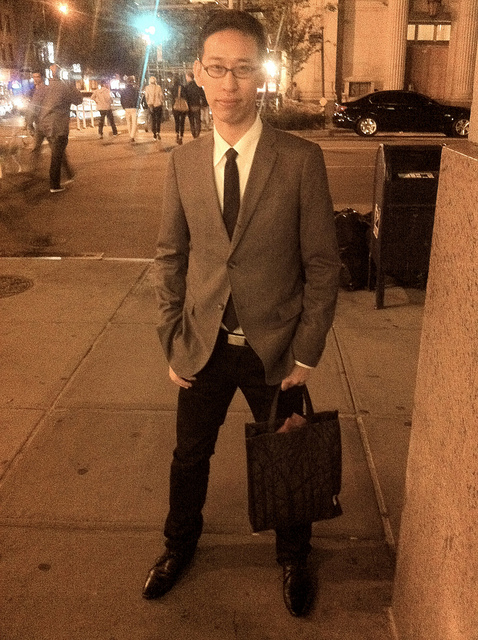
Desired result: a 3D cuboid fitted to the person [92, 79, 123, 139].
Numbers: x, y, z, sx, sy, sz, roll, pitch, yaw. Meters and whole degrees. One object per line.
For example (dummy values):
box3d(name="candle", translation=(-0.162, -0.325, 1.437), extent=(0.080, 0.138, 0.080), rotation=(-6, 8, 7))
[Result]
box3d(name="person", translation=(-6.515, -10.114, 23.543), extent=(1.187, 2.863, 0.851), rotation=(-6, -2, -18))

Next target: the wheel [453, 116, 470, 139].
box3d(name="wheel", translation=(10.010, -8.628, 21.841), extent=(0.381, 0.957, 0.924), rotation=(-5, 16, -20))

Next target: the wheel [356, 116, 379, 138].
box3d(name="wheel", translation=(6.023, -9.041, 22.771), extent=(1.036, 0.897, 0.374), rotation=(-2, 14, -7))

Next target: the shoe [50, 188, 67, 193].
box3d(name="shoe", translation=(-4.292, -3.049, 11.526), extent=(0.381, 0.155, 0.150), rotation=(-8, 3, -40))

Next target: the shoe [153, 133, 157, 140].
box3d(name="shoe", translation=(-3.857, -8.336, 22.085), extent=(0.135, 0.301, 0.559), rotation=(-4, 17, -15))

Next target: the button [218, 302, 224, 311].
box3d(name="button", translation=(-0.062, -0.042, 1.655), extent=(0.017, 0.018, 0.018), rotation=(9, 19, 24))

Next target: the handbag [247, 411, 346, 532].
box3d(name="handbag", translation=(0.202, 0.512, 1.742), extent=(0.334, 0.438, 0.169), rotation=(-6, 17, -4))

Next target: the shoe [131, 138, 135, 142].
box3d(name="shoe", translation=(-4.479, -7.562, 20.490), extent=(0.166, 0.187, 0.097), rotation=(-1, 4, -3))

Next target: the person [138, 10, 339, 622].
box3d(name="person", translation=(-0.026, 0.075, 1.795), extent=(0.743, 2.128, 0.318), rotation=(2, 14, 8))

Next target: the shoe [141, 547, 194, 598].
box3d(name="shoe", translation=(-0.293, 1.042, 2.037), extent=(0.098, 0.128, 0.303), rotation=(11, 14, 27))

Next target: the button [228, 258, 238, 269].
box3d(name="button", translation=(-0.013, -0.181, 1.583), extent=(0.029, 0.031, 0.007), rotation=(-10, 13, -16))
